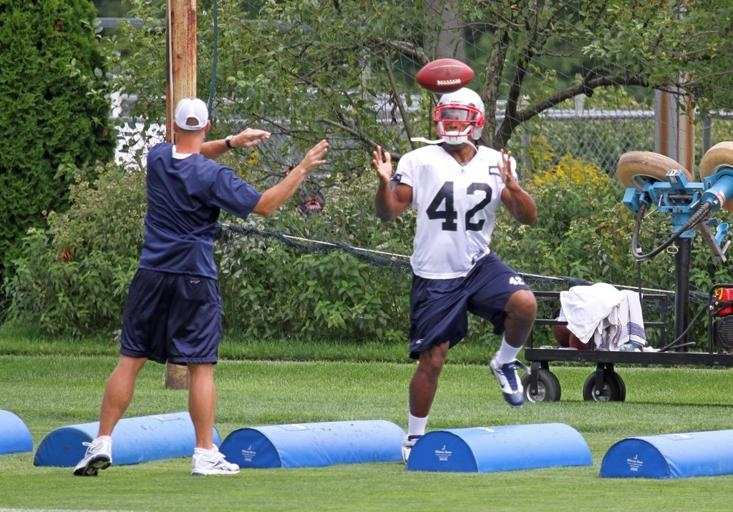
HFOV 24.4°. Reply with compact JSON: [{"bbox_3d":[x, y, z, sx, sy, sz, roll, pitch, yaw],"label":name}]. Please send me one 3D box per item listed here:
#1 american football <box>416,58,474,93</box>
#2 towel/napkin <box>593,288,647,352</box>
[{"bbox_3d":[0.708,-1.650,15.534,0.456,0.285,0.297,-4,-11,4],"label":"american football"},{"bbox_3d":[2.657,0.677,17.862,0.527,0.616,0.288,1,4,6],"label":"towel/napkin"}]
